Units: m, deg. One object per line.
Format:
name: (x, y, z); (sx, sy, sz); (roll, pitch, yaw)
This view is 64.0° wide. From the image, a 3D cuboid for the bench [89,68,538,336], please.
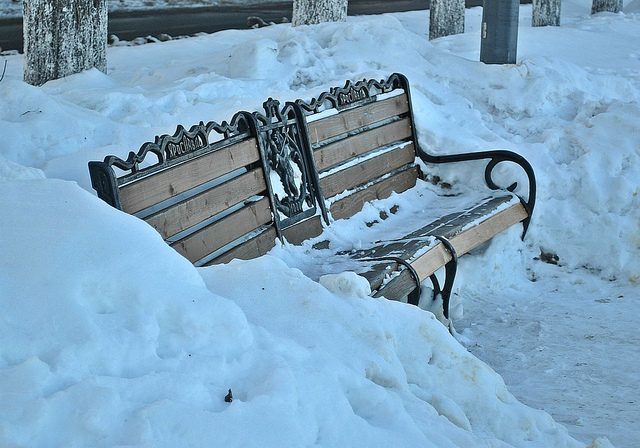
bench: (0.035, -0.153, 3.682); (0.911, 1.140, 2.210); (17, 27, 39)
